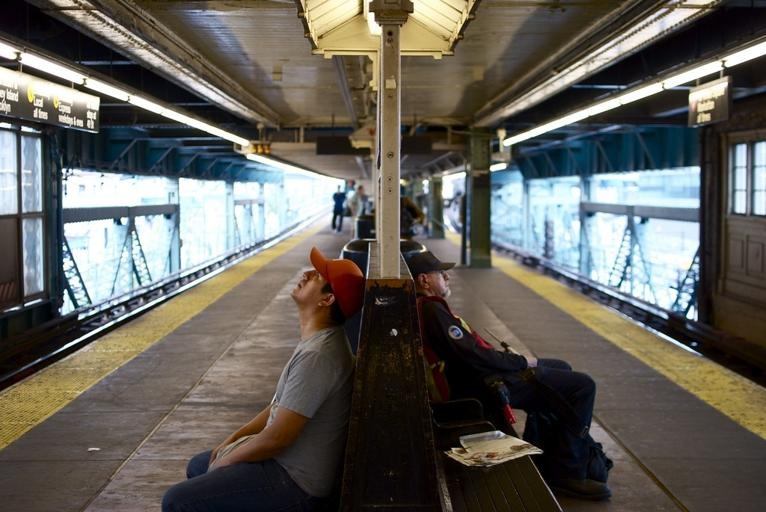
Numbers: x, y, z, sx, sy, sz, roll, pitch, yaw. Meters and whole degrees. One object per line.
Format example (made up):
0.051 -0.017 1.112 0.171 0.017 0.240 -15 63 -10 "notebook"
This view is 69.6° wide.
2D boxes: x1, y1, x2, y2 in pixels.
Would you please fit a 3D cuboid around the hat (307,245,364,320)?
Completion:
-0.314 0.150 3.974 0.291 0.547 0.377 -26 9 -7 "hat"

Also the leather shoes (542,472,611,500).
1.696 1.983 4.808 0.545 0.212 0.195 0 0 2 "leather shoes"

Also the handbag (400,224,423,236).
0.808 -0.726 15.332 0.822 0.377 1.050 -1 3 0 "handbag"

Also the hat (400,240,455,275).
0.414 0.058 4.978 0.482 0.220 0.318 -18 -5 8 "hat"
